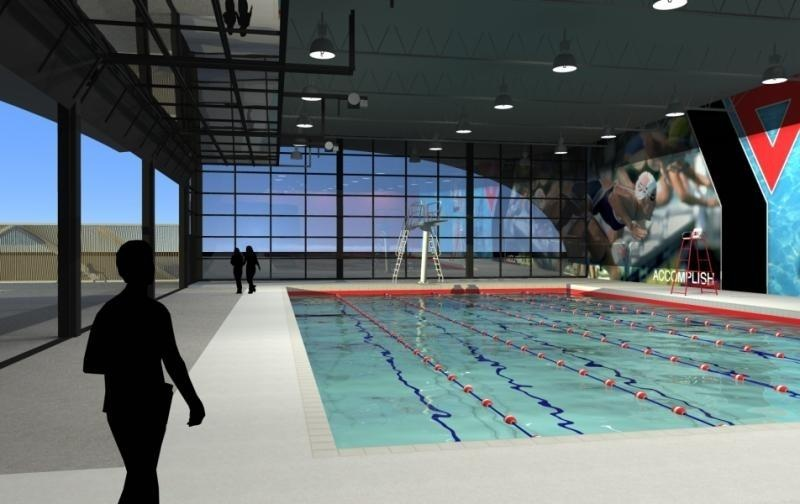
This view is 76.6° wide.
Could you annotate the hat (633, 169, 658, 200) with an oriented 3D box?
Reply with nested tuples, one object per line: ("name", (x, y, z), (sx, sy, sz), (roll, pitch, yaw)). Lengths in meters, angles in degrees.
("hat", (10.202, -2.719, 20.948), (0.696, 0.921, 0.955), (8, 9, -10))
